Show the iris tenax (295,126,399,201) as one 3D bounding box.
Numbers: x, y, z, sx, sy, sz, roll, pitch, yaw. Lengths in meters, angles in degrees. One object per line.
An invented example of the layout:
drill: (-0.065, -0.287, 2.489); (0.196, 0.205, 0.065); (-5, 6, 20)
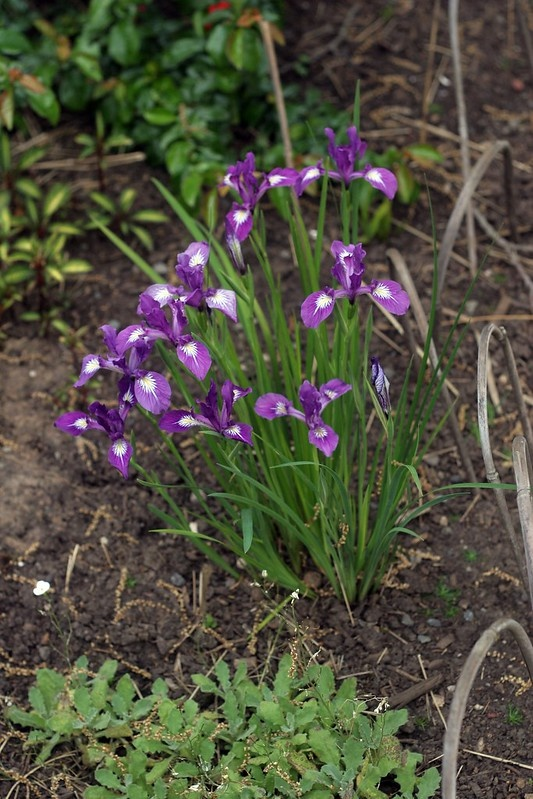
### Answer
iris tenax: (0.209, -0.586, 1.949); (0.253, 0.165, 0.214); (-4, -1, -43)

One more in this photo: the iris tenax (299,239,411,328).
iris tenax: (0.183, -0.260, 1.818); (0.298, 0.253, 0.118); (-12, 80, 6)

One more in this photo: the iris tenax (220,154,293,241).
iris tenax: (-0.007, -0.504, 1.937); (0.188, 0.220, 0.246); (-3, 44, -1)

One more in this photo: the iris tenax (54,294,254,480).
iris tenax: (-0.261, -0.027, 1.854); (0.486, 0.182, 0.425); (2, 77, 8)
